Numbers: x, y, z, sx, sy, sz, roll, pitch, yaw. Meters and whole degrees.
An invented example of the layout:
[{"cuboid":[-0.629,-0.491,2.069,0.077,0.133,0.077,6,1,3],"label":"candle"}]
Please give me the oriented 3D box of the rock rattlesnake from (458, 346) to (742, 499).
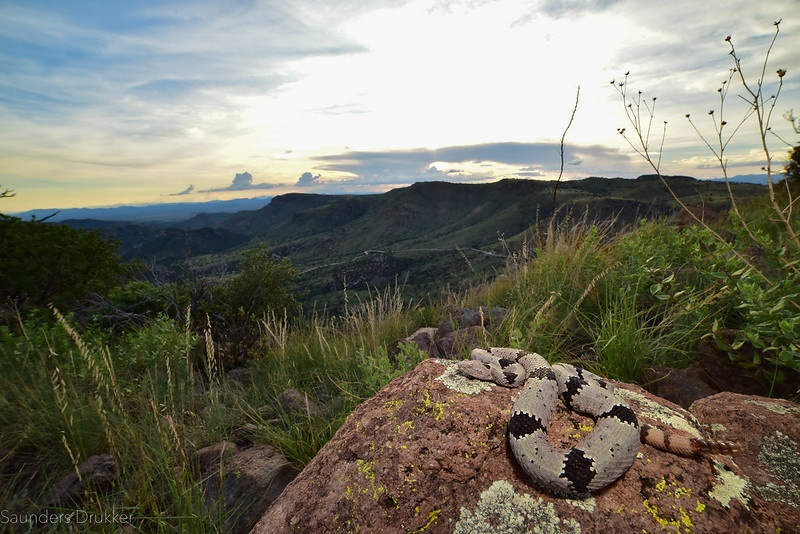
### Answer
[{"cuboid":[2.242,2.178,6.300,2.124,1.557,1.509,-2,6,29],"label":"rock rattlesnake"}]
